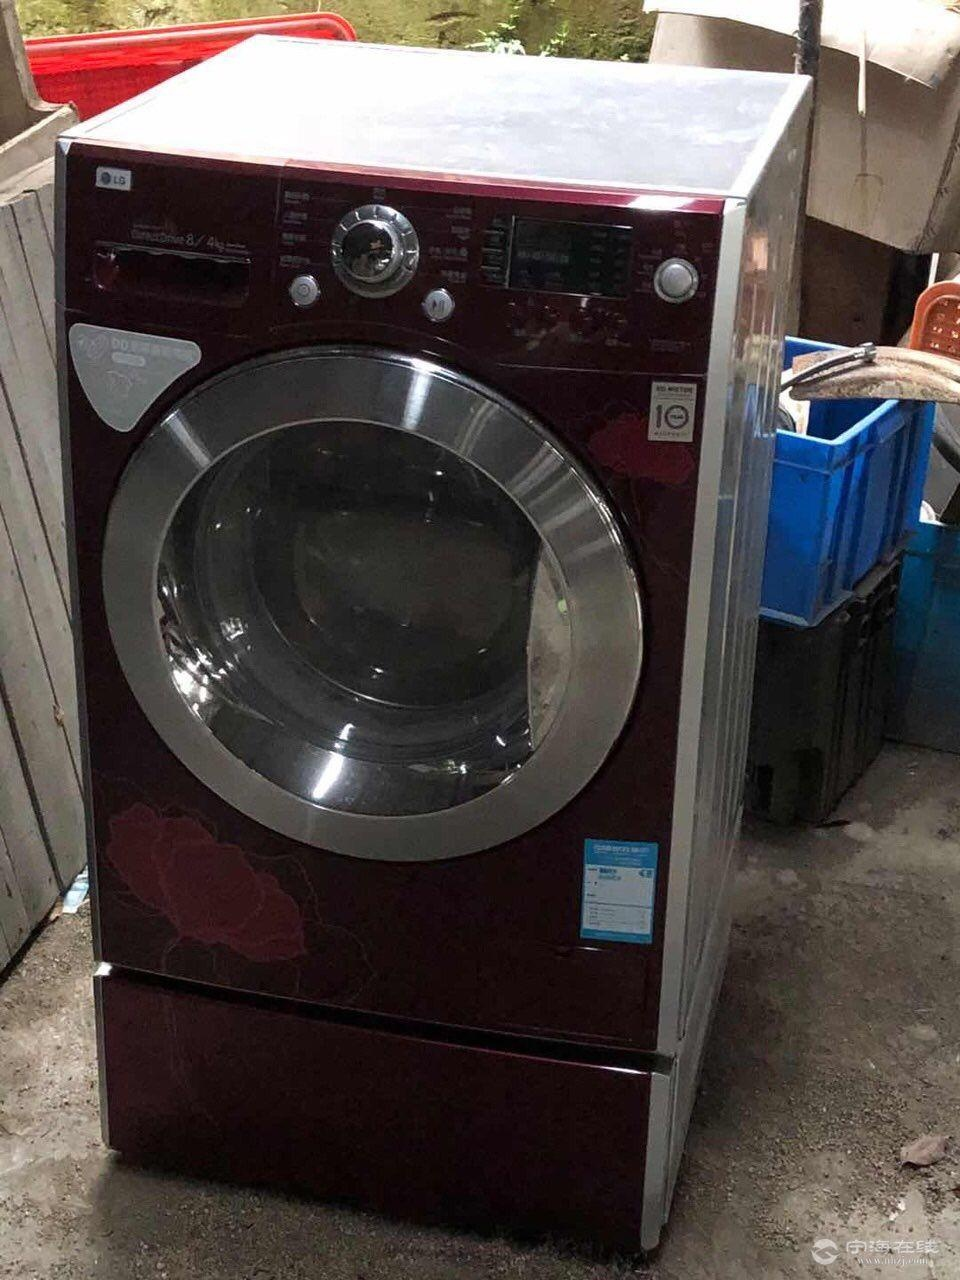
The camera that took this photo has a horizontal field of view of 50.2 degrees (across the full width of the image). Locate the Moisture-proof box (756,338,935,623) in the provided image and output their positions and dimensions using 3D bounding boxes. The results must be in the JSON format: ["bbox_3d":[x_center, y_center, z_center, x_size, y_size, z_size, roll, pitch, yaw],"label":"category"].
[{"bbox_3d":[0.627,-0.292,1.933,0.303,0.341,0.494,22,38,36],"label":"Moisture-proof box"}]

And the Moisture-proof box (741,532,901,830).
[{"bbox_3d":[0.623,0.075,1.882,0.236,0.412,0.424,10,66,19],"label":"Moisture-proof box"}]

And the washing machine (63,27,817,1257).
[{"bbox_3d":[-0.041,0.010,1.294,0.698,1.162,0.635,4,12,18],"label":"washing machine"}]
